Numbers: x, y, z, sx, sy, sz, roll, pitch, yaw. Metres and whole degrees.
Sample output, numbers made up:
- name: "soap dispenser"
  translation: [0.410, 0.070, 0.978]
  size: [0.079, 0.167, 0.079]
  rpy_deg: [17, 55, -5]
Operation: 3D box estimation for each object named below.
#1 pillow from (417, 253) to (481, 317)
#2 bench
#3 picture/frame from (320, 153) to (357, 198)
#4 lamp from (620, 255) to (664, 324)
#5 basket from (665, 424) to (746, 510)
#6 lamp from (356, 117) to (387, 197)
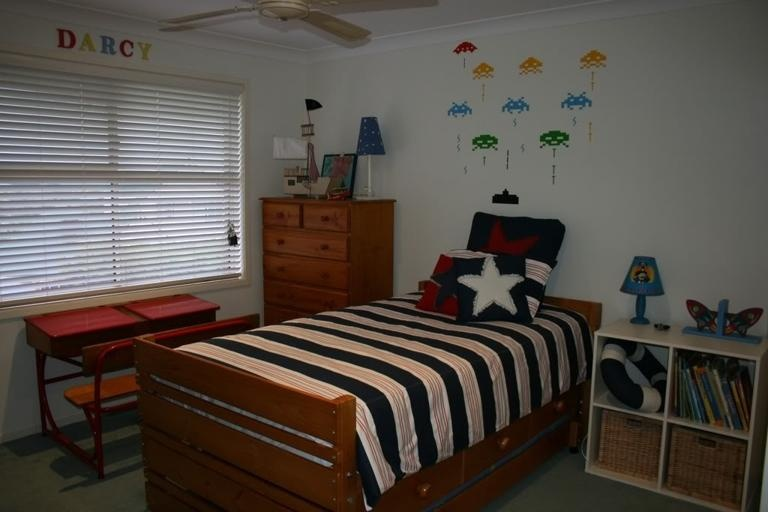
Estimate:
- name: "pillow"
  translation: [0.563, 0.215, 4.434]
  size: [0.154, 0.470, 0.503]
  rpy_deg: [17, -6, -35]
- name: "bench"
  translation: [-1.473, 0.921, 3.712]
  size: [0.439, 0.638, 1.042]
  rpy_deg: [9, 13, 37]
- name: "picture/frame"
  translation: [-0.430, -0.778, 5.575]
  size: [0.488, 0.473, 0.035]
  rpy_deg: [5, -1, 40]
- name: "lamp"
  translation: [1.932, 0.248, 4.190]
  size: [0.256, 0.490, 0.295]
  rpy_deg: [10, 15, 38]
- name: "basket"
  translation: [2.172, 1.359, 3.997]
  size: [0.606, 0.572, 0.439]
  rpy_deg: [4, 2, 26]
- name: "lamp"
  translation: [-0.110, -0.951, 5.406]
  size: [0.259, 0.749, 0.362]
  rpy_deg: [1, 12, 1]
